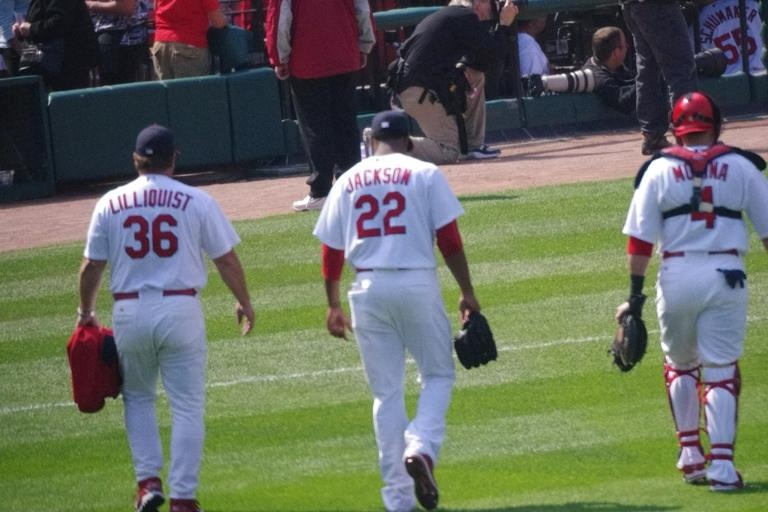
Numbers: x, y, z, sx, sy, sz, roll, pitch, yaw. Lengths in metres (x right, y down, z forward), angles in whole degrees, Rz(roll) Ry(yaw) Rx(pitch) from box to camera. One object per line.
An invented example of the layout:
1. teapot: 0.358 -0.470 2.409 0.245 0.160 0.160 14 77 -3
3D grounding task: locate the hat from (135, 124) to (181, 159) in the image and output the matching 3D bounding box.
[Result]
1. hat: -1.911 -0.962 11.946 0.377 0.234 0.453 -1 5 -10

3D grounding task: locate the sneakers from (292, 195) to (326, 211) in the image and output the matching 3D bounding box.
1. sneakers: -0.903 -0.616 16.950 0.486 0.187 0.174 1 14 22

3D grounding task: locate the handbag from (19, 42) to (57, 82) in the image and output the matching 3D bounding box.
1. handbag: -4.627 -2.629 19.386 0.588 0.480 0.130 4 9 -1

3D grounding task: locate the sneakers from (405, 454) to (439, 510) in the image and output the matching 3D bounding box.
1. sneakers: 0.324 1.758 11.464 0.199 0.491 0.220 -16 -4 9

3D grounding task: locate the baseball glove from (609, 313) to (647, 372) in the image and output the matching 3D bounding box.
1. baseball glove: 2.031 0.704 11.898 0.229 0.567 0.247 10 29 10

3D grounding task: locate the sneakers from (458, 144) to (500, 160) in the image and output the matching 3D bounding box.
1. sneakers: 1.314 -1.397 19.389 0.588 0.232 0.198 -2 5 -10

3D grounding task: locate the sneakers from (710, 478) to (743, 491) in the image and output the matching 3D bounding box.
1. sneakers: 2.753 1.835 11.534 0.264 0.111 0.096 3 -1 -1

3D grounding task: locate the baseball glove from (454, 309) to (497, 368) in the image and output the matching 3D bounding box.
1. baseball glove: 0.761 0.686 11.822 0.396 0.440 0.201 -4 -2 -2
